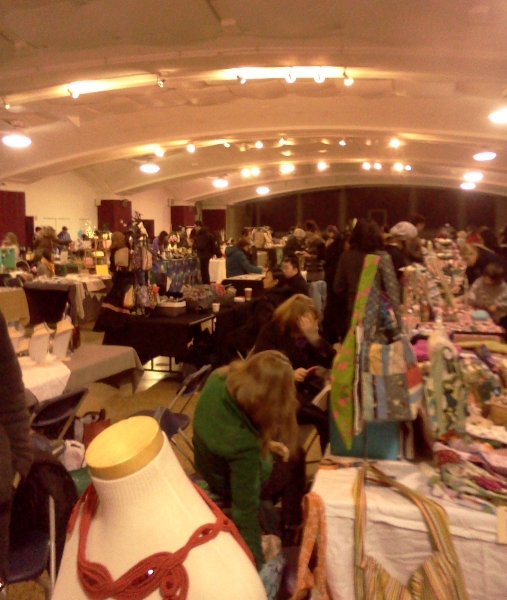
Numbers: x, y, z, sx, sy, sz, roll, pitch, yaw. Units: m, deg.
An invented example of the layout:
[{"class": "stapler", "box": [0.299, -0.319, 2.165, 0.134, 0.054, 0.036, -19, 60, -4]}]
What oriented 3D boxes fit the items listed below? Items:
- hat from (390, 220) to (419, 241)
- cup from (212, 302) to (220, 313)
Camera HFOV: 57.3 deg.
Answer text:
[{"class": "hat", "box": [1.126, -0.504, 3.462, 0.183, 0.125, 0.187, 2, 1, 33]}, {"class": "cup", "box": [-0.419, 0.091, 5.285, 0.094, 0.104, 0.094, 1, 8, 0]}]
